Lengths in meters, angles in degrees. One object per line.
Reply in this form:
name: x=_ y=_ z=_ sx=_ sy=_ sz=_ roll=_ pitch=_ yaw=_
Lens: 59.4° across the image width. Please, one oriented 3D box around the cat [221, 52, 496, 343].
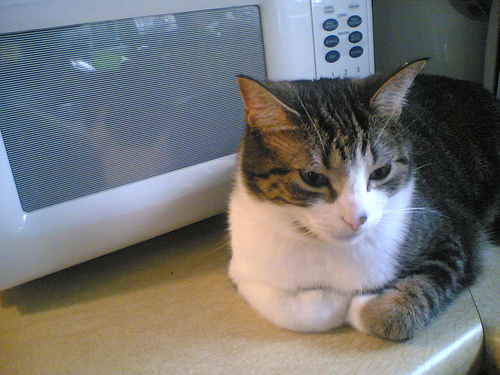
cat: x=0.248 y=-0.032 z=0.902 sx=0.413 sy=0.392 sz=0.596 roll=-3 pitch=35 yaw=18
